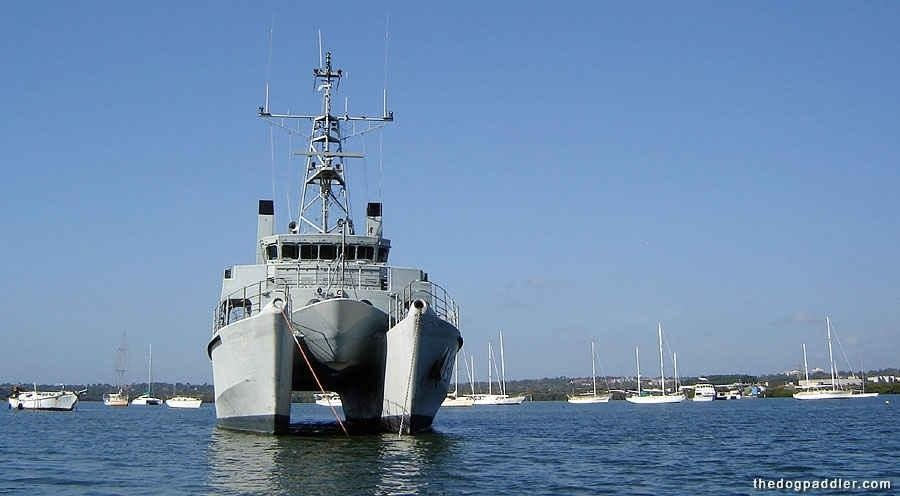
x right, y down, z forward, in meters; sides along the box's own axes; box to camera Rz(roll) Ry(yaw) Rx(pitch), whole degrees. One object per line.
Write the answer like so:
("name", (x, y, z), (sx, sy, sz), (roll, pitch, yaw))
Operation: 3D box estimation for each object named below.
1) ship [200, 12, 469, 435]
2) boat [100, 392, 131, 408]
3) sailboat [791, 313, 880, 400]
("ship", (-6.927, 3.748, 62.325), (10.619, 19.604, 28.195), (0, -9, -5))
("boat", (-39.801, 17.717, 133.999), (1.952, 1.397, 7.052), (3, -5, -23))
("sailboat", (38.208, 11.777, 113.109), (6.320, 6.874, 41.442), (-1, -5, 18))
